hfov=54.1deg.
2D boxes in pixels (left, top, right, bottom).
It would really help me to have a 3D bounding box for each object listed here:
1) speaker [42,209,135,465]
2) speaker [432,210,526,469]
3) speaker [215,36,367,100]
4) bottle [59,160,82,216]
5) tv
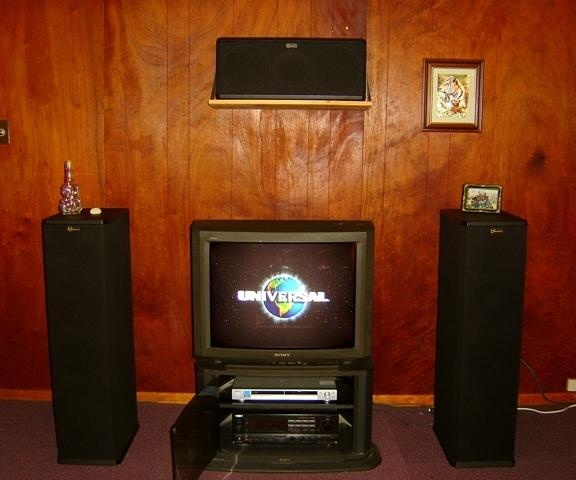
[{"bbox_3d":[-0.986,0.472,2.887,0.352,1.218,0.380,1,10,2],"label":"speaker"},{"bbox_3d":[0.992,0.484,2.889,0.399,1.237,0.399,1,10,5],"label":"speaker"},{"bbox_3d":[0.012,-0.829,2.633,0.601,0.325,0.153,3,6,2],"label":"speaker"},{"bbox_3d":[-1.104,-0.269,2.855,0.103,0.248,0.268,-3,11,-22],"label":"bottle"},{"bbox_3d":[-0.024,0.259,2.930,0.990,0.999,0.594,0,1,1],"label":"tv"}]
